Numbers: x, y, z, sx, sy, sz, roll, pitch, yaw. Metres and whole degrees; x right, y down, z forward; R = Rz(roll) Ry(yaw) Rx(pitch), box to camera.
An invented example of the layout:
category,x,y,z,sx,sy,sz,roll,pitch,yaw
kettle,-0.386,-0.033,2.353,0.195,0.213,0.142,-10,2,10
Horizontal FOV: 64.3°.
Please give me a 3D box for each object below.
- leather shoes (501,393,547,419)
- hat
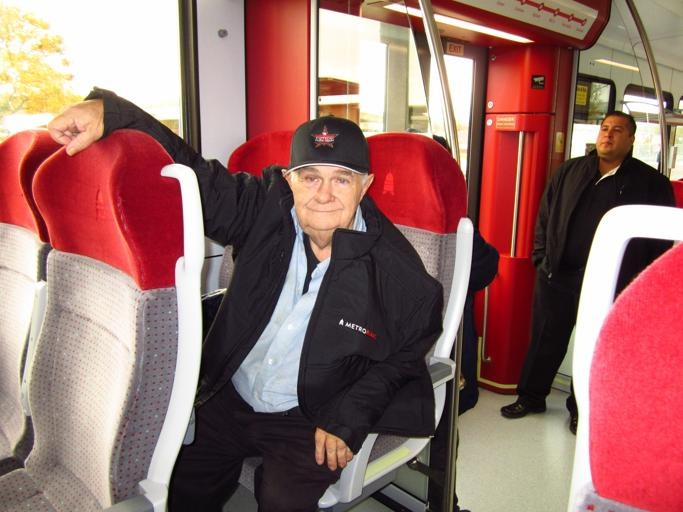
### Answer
category,x,y,z,sx,sy,sz,roll,pitch,yaw
leather shoes,1.206,1.011,3.677,0.340,0.170,0.123,-3,5,-13
hat,-0.045,-0.422,2.034,0.331,0.211,0.385,-2,12,-7
